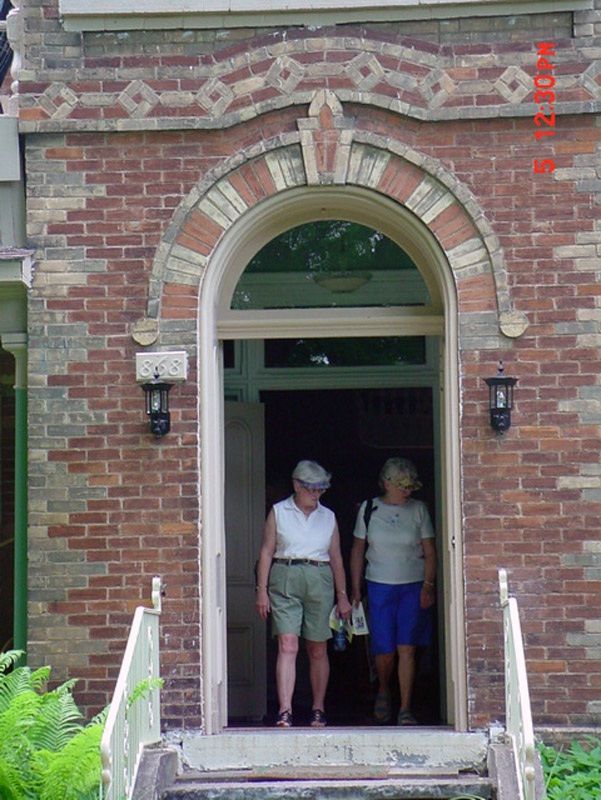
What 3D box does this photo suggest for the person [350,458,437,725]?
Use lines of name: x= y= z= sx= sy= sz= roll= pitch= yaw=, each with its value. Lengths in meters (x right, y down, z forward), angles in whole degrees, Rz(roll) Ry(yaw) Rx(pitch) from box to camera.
person: x=0.600 y=1.211 z=9.194 sx=0.446 sy=1.686 sz=0.677 roll=-1 pitch=-5 yaw=-21

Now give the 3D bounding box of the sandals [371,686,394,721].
sandals: x=0.526 y=1.945 z=9.316 sx=0.090 sy=0.092 sz=0.241 roll=0 pitch=14 yaw=2

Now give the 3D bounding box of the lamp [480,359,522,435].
lamp: x=1.136 y=-0.030 z=8.307 sx=0.176 sy=0.399 sz=0.173 roll=2 pitch=5 yaw=17

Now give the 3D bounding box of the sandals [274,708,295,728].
sandals: x=-0.099 y=1.890 z=8.657 sx=0.092 sy=0.103 sz=0.182 roll=-2 pitch=-5 yaw=-2

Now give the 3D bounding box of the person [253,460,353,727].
person: x=0.039 y=1.173 z=8.945 sx=0.602 sy=1.621 sz=0.521 roll=-1 pitch=-5 yaw=-15

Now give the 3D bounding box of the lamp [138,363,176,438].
lamp: x=-0.818 y=0.008 z=8.351 sx=0.176 sy=0.407 sz=0.257 roll=-2 pitch=-5 yaw=-6

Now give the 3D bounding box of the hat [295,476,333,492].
hat: x=0.081 y=0.516 z=9.009 sx=0.246 sy=0.091 sz=0.217 roll=-1 pitch=-5 yaw=-14

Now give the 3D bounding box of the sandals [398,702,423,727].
sandals: x=0.675 y=1.943 z=8.999 sx=0.109 sy=0.117 sz=0.284 roll=0 pitch=-11 yaw=-1

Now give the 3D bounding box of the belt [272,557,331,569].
belt: x=0.002 y=0.994 z=8.973 sx=0.335 sy=0.057 sz=0.170 roll=-2 pitch=-4 yaw=1
